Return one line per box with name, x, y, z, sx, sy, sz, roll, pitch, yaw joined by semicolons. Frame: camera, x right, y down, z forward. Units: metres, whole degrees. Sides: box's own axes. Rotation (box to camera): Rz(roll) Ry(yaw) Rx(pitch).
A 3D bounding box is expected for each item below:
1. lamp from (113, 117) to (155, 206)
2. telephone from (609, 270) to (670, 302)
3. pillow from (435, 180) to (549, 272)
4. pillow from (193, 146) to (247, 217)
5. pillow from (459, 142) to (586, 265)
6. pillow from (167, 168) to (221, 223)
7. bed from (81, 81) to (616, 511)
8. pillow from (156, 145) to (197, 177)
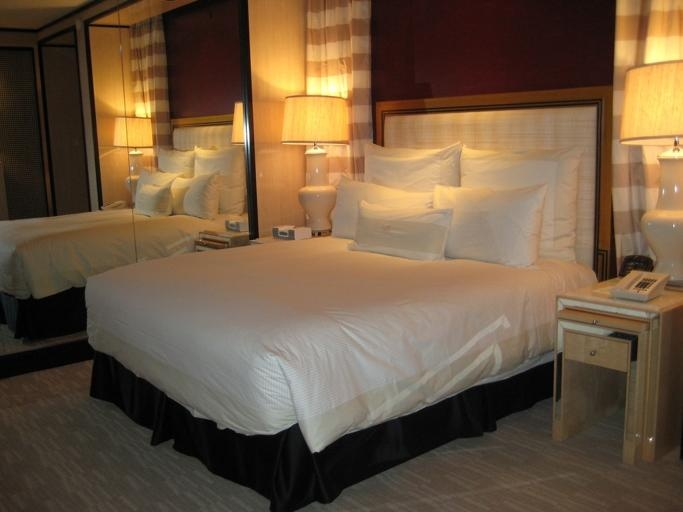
lamp;-1.770;-0.848;4.466;0.303;0.705;0.291;1;22;-12
telephone;1.522;0.153;2.664;0.309;0.105;0.148;-11;16;-33
pillow;0.934;-0.231;3.483;0.294;0.555;0.817;-3;10;-42
pillow;-1.099;-0.669;4.618;0.544;0.490;0.207;-16;10;-37
pillow;1.197;-0.309;3.376;0.732;0.827;0.272;-3;-11;30
pillow;-1.292;-0.531;4.489;0.434;0.291;0.171;3;-4;42
bed;-0.004;0.338;2.901;2.758;1.286;1.497;-6;14;-16
pillow;-1.419;-0.799;4.423;0.265;0.222;0.094;1;-3;-14
